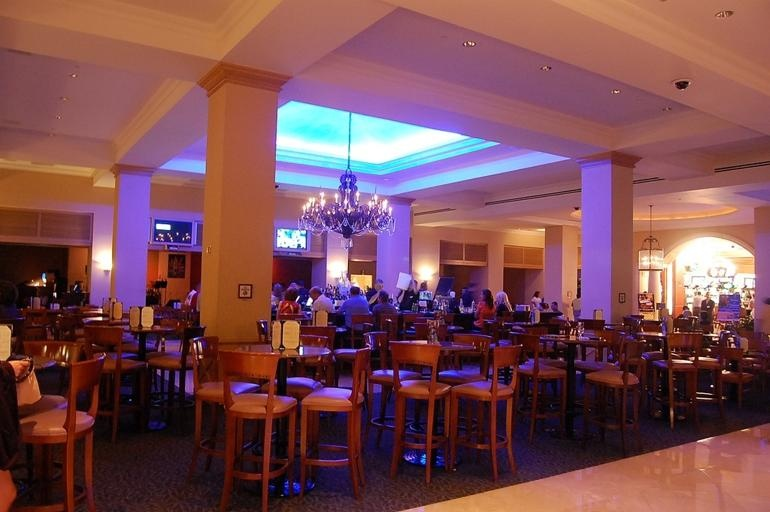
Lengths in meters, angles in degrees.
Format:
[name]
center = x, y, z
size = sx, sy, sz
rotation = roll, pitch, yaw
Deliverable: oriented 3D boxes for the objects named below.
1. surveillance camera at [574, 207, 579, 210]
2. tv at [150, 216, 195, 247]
[surveillance camera]
center = 5.023, -1.259, 14.732
size = 0.099, 0.074, 0.101
rotation = -3, -4, 26
[tv]
center = -5.532, -0.623, 14.662
size = 1.111, 0.744, 0.637
rotation = 5, -9, -38
